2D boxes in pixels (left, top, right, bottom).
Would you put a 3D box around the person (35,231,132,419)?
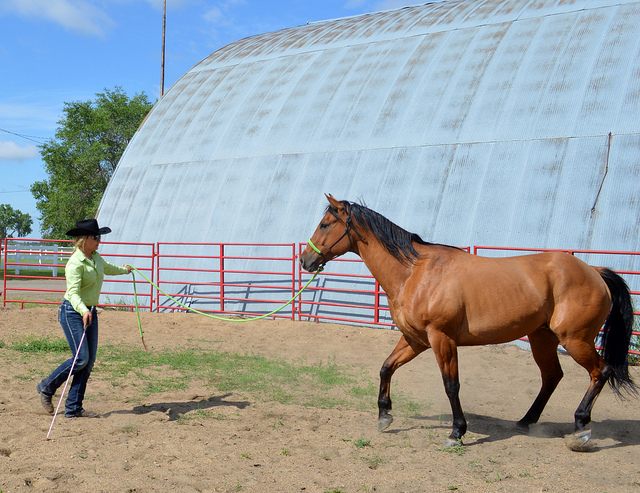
[{"bbox_3d":[-3.318,1.061,10.637,1.042,2.534,0.856,-2,13,-15],"label":"person"}]
